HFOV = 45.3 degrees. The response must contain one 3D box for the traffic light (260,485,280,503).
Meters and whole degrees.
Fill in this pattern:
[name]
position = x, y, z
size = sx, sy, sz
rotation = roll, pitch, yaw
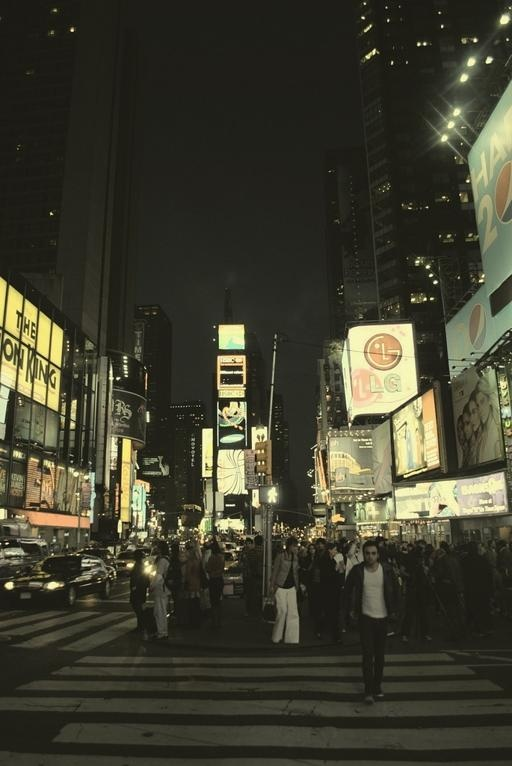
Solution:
[traffic light]
position = 0.330, 3.130, 16.705
size = 0.457, 0.582, 0.919
rotation = -3, -15, 7
